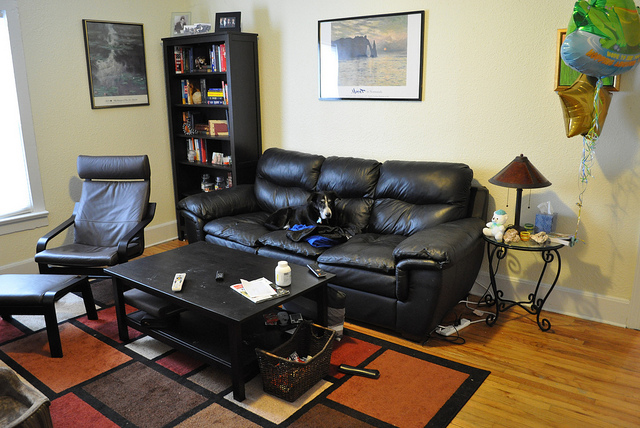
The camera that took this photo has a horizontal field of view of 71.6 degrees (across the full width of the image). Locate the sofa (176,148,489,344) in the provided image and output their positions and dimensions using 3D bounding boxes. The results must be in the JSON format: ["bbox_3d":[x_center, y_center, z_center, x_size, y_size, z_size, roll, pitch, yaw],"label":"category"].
[{"bbox_3d":[0.219,0.307,4.004,2.881,1.178,1.592,8,15,34],"label":"sofa"}]

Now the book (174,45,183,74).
[{"bbox_3d":[-1.774,-1.915,5.556,0.111,0.335,0.132,-6,21,-17],"label":"book"}]

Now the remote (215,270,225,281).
[{"bbox_3d":[-0.800,0.485,3.516,0.056,0.023,0.102,1,18,-2],"label":"remote"}]

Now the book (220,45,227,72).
[{"bbox_3d":[-1.141,-1.811,5.212,0.044,0.298,0.107,-13,24,-33],"label":"book"}]

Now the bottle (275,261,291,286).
[{"bbox_3d":[-0.243,0.454,3.404,0.163,0.173,0.162,0,9,-2],"label":"bottle"}]

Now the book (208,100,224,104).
[{"bbox_3d":[-1.283,-1.368,5.468,0.258,0.054,0.037,13,22,33],"label":"book"}]

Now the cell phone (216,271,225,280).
[{"bbox_3d":[-0.796,0.486,3.509,0.052,0.021,0.095,3,15,1],"label":"cell phone"}]

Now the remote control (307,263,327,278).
[{"bbox_3d":[-0.025,0.447,3.590,0.074,0.029,0.149,-9,28,-28],"label":"remote control"}]

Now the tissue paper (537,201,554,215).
[{"bbox_3d":[1.995,-0.051,3.902,0.118,0.119,0.016,10,21,36],"label":"tissue paper"}]

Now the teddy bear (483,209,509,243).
[{"bbox_3d":[1.537,0.091,3.839,0.169,0.233,0.213,16,24,37],"label":"teddy bear"}]

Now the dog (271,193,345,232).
[{"bbox_3d":[-0.071,-0.024,4.518,0.508,0.208,0.358,7,12,44],"label":"dog"}]

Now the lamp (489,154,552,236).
[{"bbox_3d":[1.693,-0.167,3.816,0.353,0.628,0.370,-8,21,-23],"label":"lamp"}]
